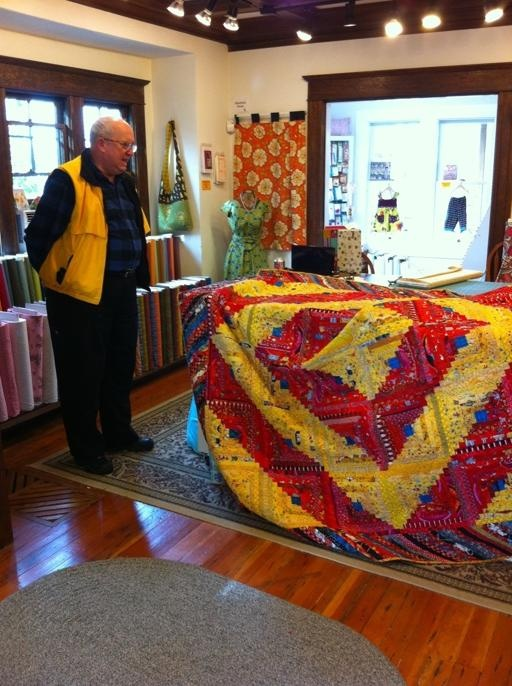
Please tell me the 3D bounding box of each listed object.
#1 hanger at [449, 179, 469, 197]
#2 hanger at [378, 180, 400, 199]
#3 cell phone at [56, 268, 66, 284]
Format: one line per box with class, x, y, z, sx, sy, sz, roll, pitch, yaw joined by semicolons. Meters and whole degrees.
hanger;2.302;-1.737;5.808;0.198;0.201;0.005;9;22;19
hanger;1.602;-1.827;6.160;0.223;0.230;0.005;13;28;28
cell phone;-0.826;-0.286;2.187;0.050;0.064;0.018;-2;-8;25
